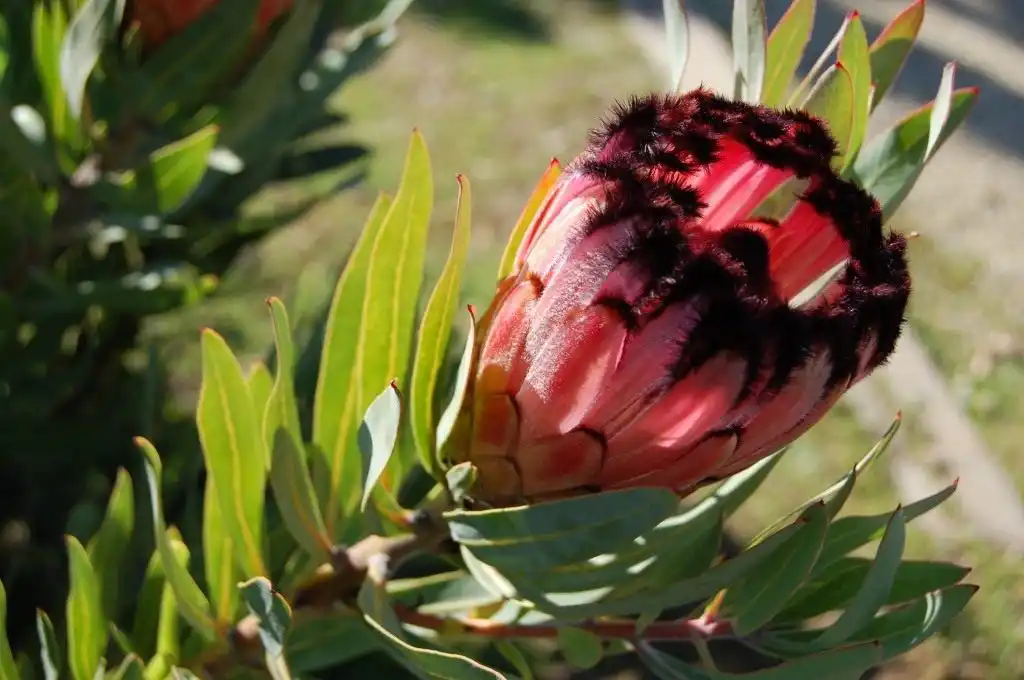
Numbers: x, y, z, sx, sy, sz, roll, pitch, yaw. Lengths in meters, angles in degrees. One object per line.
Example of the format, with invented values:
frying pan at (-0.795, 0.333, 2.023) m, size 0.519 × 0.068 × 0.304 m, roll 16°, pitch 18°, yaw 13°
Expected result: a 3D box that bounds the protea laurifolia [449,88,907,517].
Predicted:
protea laurifolia at (0.217, -0.037, 1.530) m, size 0.562 × 0.418 × 0.399 m, roll 5°, pitch 50°, yaw -5°
